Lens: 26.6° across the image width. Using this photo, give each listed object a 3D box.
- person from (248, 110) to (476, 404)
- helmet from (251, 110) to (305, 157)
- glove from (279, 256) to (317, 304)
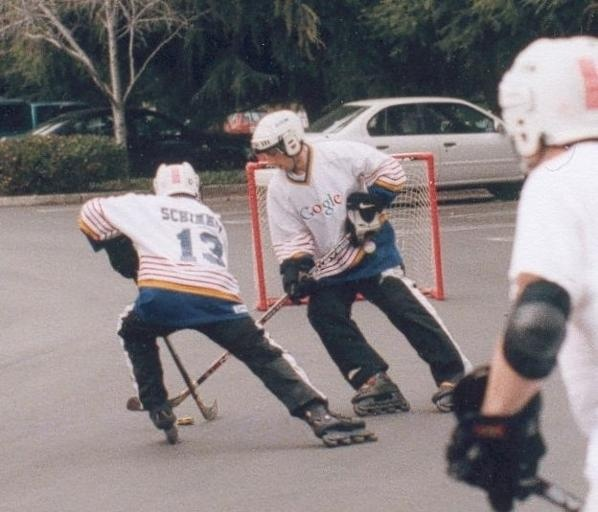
[{"bbox_3d":[0.280,-0.093,8.127,1.164,1.967,1.538,5,17,0],"label":"person"},{"bbox_3d":[-0.133,-0.750,7.836,0.327,0.273,0.210,-10,12,-2],"label":"helmet"},{"bbox_3d":[-0.011,0.145,7.865,0.225,0.279,0.119,-8,-10,19],"label":"glove"}]
